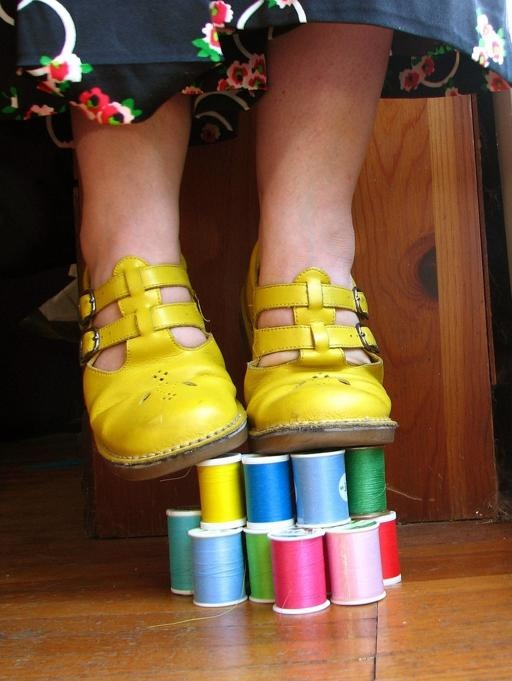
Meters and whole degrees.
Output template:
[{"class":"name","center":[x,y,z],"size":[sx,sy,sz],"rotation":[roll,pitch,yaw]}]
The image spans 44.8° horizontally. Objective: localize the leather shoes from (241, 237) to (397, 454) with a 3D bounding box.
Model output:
[{"class":"leather shoes","center":[0.078,0.019,0.796],"size":[0.190,0.187,0.263],"rotation":[2,26,2]}]

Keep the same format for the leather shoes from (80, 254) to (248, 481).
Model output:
[{"class":"leather shoes","center":[-0.133,0.009,0.817],"size":[0.145,0.148,0.357],"rotation":[-15,26,-8]}]
